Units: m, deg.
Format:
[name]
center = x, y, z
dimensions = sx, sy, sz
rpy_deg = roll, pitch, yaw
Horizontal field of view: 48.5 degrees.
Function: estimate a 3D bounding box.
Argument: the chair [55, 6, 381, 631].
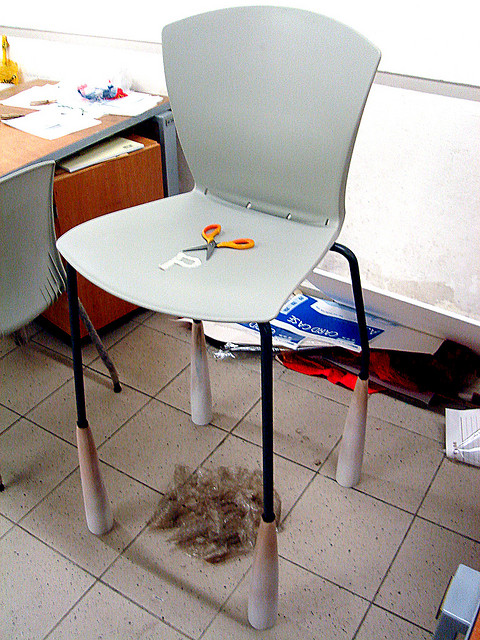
[chair]
center = -0.047, 0.028, 1.079
dimensions = 0.478, 1.313, 0.544
rpy_deg = 18, 38, 26
